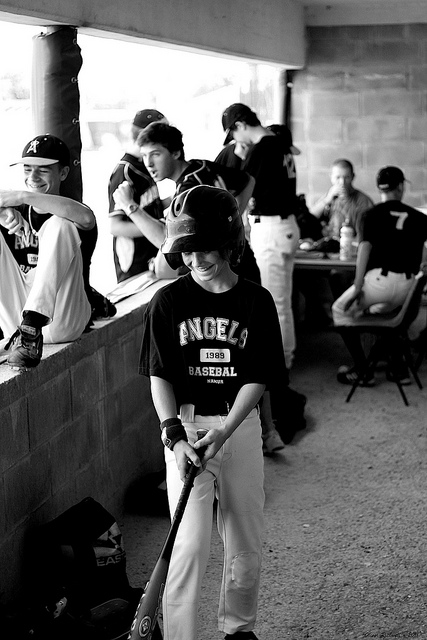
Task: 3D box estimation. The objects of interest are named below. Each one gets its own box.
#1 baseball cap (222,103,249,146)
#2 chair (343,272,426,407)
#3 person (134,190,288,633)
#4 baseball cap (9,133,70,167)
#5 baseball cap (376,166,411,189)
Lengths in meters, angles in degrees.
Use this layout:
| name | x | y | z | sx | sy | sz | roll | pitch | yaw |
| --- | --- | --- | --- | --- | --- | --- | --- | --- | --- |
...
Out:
| name | x | y | z | sx | sy | sz | roll | pitch | yaw |
| --- | --- | --- | --- | --- | --- | --- | --- | --- | --- |
| baseball cap | 0.119 | -1.217 | 4.059 | 0.197 | 0.148 | 0.102 | 10 | 14 | 41 |
| chair | 1.181 | 0.121 | 4.696 | 0.476 | 0.830 | 0.718 | 4 | 11 | 18 |
| person | 0.010 | 0.272 | 1.694 | 0.378 | 1.175 | 0.382 | -1 | 11 | -8 |
| baseball cap | -0.621 | -0.607 | 2.457 | 0.108 | 0.099 | 0.174 | 9 | 11 | 32 |
| baseball cap | 1.238 | -1.007 | 4.679 | 0.186 | 0.142 | 0.144 | -13 | -20 | 21 |
